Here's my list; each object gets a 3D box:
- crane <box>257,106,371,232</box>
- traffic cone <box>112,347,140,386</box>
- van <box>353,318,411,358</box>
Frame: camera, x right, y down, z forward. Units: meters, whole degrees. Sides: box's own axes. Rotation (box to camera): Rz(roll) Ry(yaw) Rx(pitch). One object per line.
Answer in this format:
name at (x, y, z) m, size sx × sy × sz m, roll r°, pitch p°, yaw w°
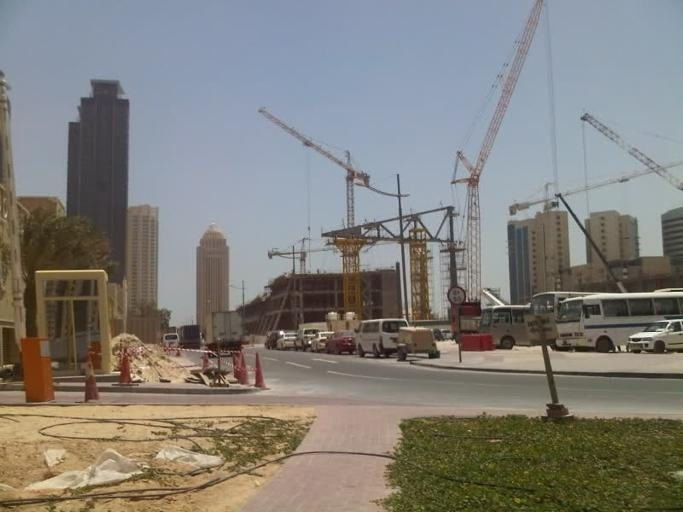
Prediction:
crane at (-4.252, -13.101, 104.917) m, size 20.101 × 20.933 × 3.299 m, roll 21°, pitch -53°, yaw -15°
traffic cone at (-7.122, 3.683, 22.360) m, size 1.043 × 1.184 × 1.094 m, roll -4°, pitch -8°, yaw 24°
van at (2.513, 4.755, 39.951) m, size 1.744 × 1.562 × 3.074 m, roll 1°, pitch -3°, yaw -20°
